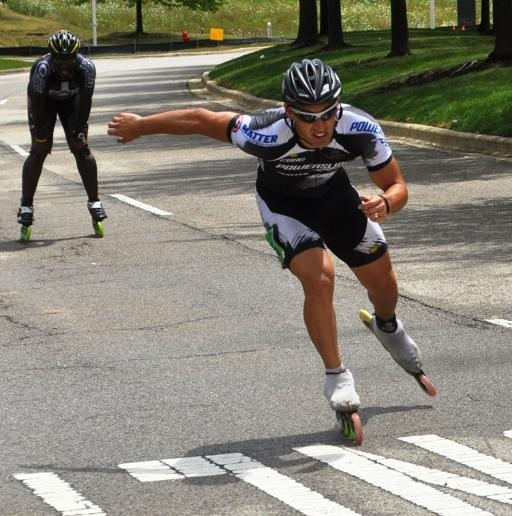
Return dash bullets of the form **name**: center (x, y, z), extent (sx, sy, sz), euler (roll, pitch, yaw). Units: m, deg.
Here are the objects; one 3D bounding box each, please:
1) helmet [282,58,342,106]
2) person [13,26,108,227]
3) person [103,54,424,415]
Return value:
- **helmet**: center (0.248, -0.779, 3.207), extent (0.259, 0.092, 0.282), euler (-3, 31, 2)
- **person**: center (-2.177, -1.343, 7.823), extent (1.217, 2.011, 1.188), euler (-9, 22, -33)
- **person**: center (0.236, -0.119, 3.551), extent (1.709, 1.672, 0.988), euler (1, 2, 38)
